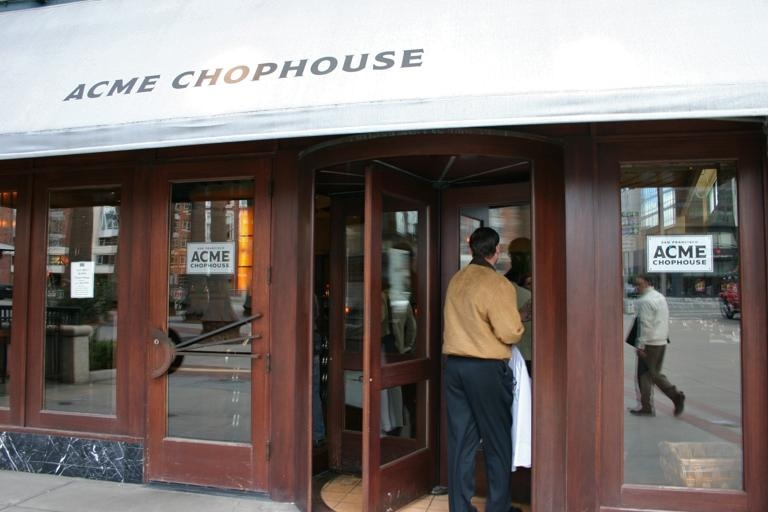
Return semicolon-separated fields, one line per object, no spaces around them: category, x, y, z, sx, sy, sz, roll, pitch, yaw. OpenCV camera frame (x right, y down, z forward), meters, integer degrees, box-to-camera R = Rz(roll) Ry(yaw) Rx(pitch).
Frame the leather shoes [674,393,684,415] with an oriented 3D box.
leather shoes;2.436;1.228;6.312;0.073;0.193;0.068;5;2;9
